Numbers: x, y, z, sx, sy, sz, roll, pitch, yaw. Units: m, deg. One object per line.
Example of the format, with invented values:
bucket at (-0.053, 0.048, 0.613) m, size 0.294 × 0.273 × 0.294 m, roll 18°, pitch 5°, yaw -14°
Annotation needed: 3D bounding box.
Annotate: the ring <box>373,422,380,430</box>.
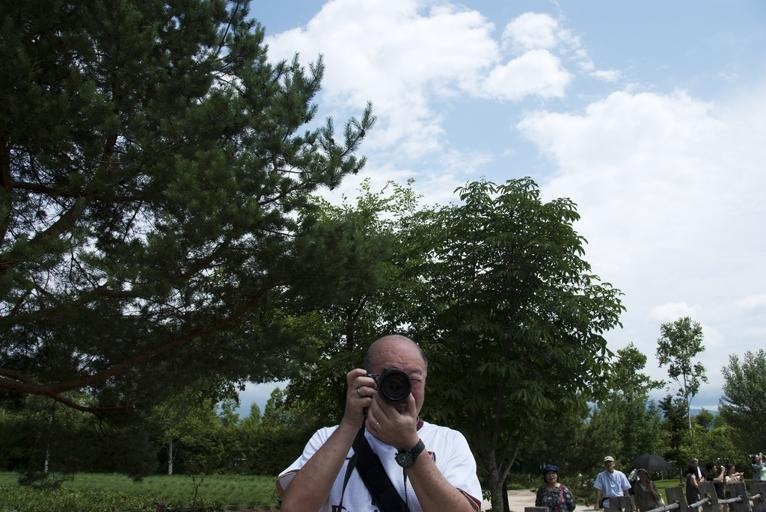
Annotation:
ring at (-0.113, 2.671, 10.426) m, size 0.076 × 0.074 × 0.020 m, roll -37°, pitch -8°, yaw 31°
